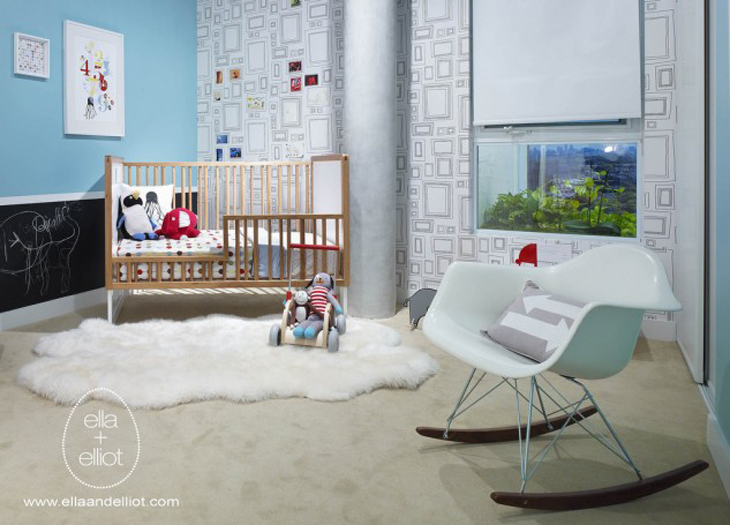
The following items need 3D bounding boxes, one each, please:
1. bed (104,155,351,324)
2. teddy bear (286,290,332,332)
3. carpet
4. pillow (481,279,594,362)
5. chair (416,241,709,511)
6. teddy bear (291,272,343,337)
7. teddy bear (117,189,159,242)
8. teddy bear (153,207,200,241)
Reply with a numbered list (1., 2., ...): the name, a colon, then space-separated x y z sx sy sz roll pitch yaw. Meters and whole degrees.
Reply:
1. bed: -1.758 -0.167 4.401 1.105 1.015 1.574 -2 -8 -30
2. teddy bear: -0.330 0.303 3.193 0.218 0.252 0.278 -5 -5 15
3. carpet: -0.835 0.553 2.987 2.321 0.122 1.160 0 9 -2
4. pillow: 0.723 0.246 2.153 0.282 0.268 0.313 -8 12 -42
5. chair: 0.697 0.384 2.195 0.934 0.916 0.927 -2 9 -14
6. teddy bear: -0.315 0.252 3.220 0.314 0.352 0.418 1 7 13
7. teddy bear: -1.708 -0.333 3.731 0.324 0.397 0.325 -2 -1 26
8. teddy bear: -1.448 -0.285 3.886 0.226 0.184 0.262 0 -7 -6
